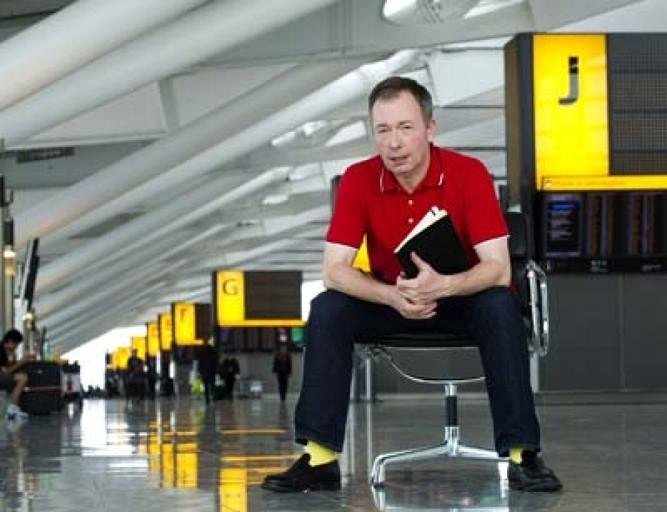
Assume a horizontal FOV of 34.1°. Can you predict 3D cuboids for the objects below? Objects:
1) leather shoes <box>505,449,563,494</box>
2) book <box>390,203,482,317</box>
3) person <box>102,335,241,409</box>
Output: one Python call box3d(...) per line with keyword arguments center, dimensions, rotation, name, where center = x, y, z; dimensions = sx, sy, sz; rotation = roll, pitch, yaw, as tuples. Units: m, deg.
box3d(center=(1.282, 1.381, 7.047), dimensions=(0.351, 0.210, 0.202), rotation=(-3, -6, 24), name="leather shoes")
box3d(center=(0.636, -0.088, 7.024), dimensions=(0.470, 0.446, 0.221), rotation=(-5, -7, 6), name="book")
box3d(center=(-2.315, 1.733, 15.987), dimensions=(1.863, 0.814, 1.410), rotation=(-4, -6, -2), name="person")
